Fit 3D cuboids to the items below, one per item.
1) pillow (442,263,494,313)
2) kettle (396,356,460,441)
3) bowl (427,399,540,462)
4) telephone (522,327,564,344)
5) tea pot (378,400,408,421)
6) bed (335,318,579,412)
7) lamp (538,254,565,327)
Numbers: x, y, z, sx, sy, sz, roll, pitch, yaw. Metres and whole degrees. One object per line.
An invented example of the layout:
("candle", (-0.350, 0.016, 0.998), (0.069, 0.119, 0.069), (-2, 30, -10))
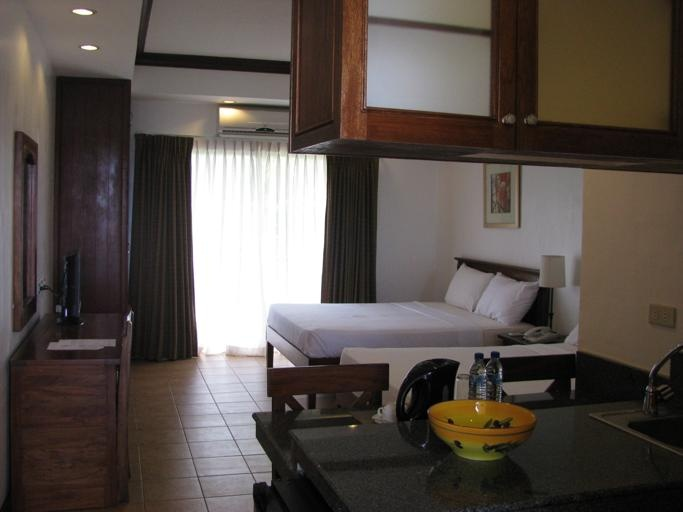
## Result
("pillow", (1.434, 0.366, 6.325), (0.129, 0.446, 0.480), (29, -3, -29))
("kettle", (0.323, 0.518, 2.143), (0.259, 0.404, 0.187), (5, -7, 6))
("bowl", (0.463, 0.572, 1.837), (0.339, 0.126, 0.353), (-1, 1, 0))
("telephone", (1.792, 0.717, 5.001), (0.180, 0.059, 0.186), (-1, 4, -15))
("tea pot", (0.202, 0.657, 2.341), (0.113, 0.048, 0.113), (-1, 1, 0))
("bed", (0.879, 0.714, 3.960), (0.945, 0.437, 0.890), (-2, 6, -10))
("lamp", (1.954, 0.345, 5.139), (0.218, 0.702, 0.487), (1, 2, 22))
